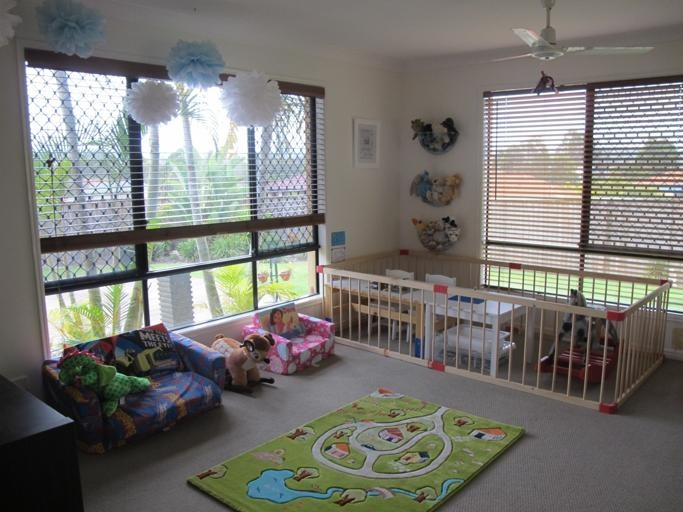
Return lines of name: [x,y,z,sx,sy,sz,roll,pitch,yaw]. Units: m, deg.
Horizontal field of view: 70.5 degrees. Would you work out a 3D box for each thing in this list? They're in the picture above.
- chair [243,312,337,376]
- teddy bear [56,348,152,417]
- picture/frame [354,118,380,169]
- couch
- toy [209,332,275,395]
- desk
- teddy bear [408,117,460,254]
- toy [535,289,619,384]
chair: [-0.556,0.841,5.195,0.637,0.441,0.647,4,9,43]
teddy bear: [-1.832,0.969,3.763,0.692,0.485,0.341,6,-16,-38]
picture/frame: [0.311,-1.446,6.117,0.052,0.721,0.642,2,5,39]
couch: [-1.746,1.027,4.100,0.947,0.654,1.248,9,11,38]
toy: [-0.850,0.981,4.633,0.668,0.506,0.376,6,9,31]
desk: [0.978,0.619,5.415,2.206,0.975,1.151,9,17,33]
teddy bear: [1.249,-0.919,6.349,0.731,1.709,0.374,4,15,18]
toy: [2.391,0.813,4.820,0.649,0.749,0.429,12,37,43]
